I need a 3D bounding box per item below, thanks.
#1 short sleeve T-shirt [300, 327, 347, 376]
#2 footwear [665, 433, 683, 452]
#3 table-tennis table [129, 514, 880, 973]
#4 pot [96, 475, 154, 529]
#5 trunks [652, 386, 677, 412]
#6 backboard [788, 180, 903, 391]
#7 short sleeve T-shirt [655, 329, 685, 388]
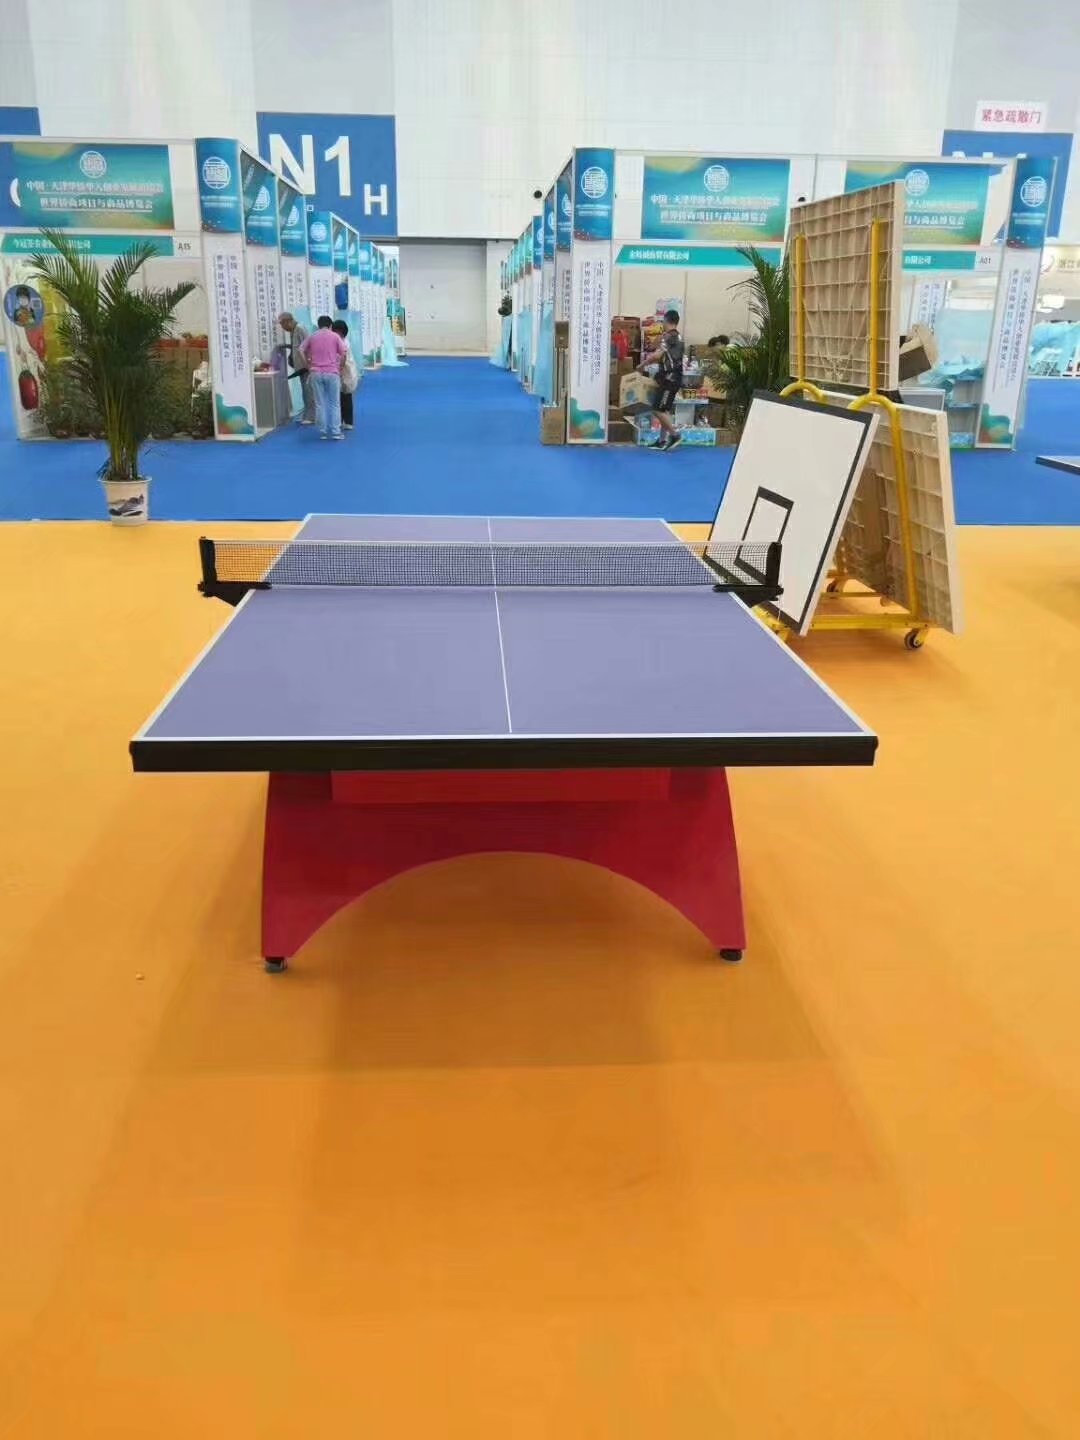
[{"bbox_3d":[-2.334,-4.052,11.163,0.462,0.498,0.389,-5,26,-11],"label":"short sleeve T-shirt"},{"bbox_3d":[1.482,-3.069,11.118,0.092,0.129,0.293,-8,30,23],"label":"footwear"},{"bbox_3d":[-0.113,0.057,2.434,1.337,0.905,1.476,-2,27,-4],"label":"table-tennis table"},{"bbox_3d":[-2.881,-1.552,7.177,0.307,0.269,0.331,1,13,0],"label":"pot"},{"bbox_3d":[1.351,-3.467,10.898,0.203,0.318,0.360,0,65,-2],"label":"trunks"},{"bbox_3d":[1.466,-2.187,5.007,0.052,0.757,0.820,-8,17,-17],"label":"backboard"},{"bbox_3d":[1.384,-3.857,10.764,0.251,0.531,0.390,-6,45,-4],"label":"short sleeve T-shirt"}]
